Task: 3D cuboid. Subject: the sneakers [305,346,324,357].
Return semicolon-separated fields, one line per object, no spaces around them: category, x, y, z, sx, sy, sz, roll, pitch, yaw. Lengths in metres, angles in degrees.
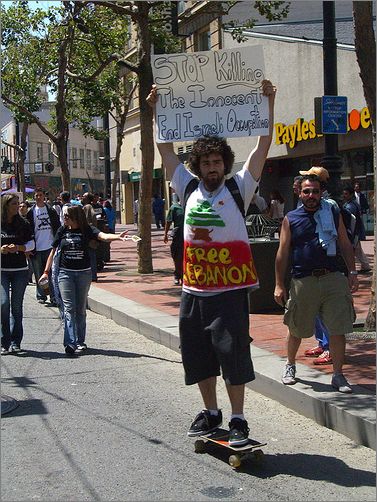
sneakers;1.175;0.936;5.341;0.185;0.071;0.072;-1;5;11

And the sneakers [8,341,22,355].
sneakers;-1.930;1.087;6.350;0.073;0.074;0.177;5;-4;-32

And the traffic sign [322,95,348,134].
traffic sign;1.681;-1.578;6.615;0.448;0.595;0.069;-1;1;-29

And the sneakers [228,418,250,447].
sneakers;0.271;0.980;3.107;0.107;0.120;0.152;-1;2;4

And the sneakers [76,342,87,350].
sneakers;-1.226;1.070;6.463;0.105;0.052;0.168;2;1;-3

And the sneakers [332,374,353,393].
sneakers;1.101;0.941;4.109;0.119;0.110;0.203;-1;2;4

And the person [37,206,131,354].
person;-1.324;0.306;6.432;0.498;1.623;0.430;0;2;23

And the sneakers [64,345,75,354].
sneakers;-1.298;1.072;6.226;0.115;0.118;0.122;-2;2;-11

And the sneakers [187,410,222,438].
sneakers;0.099;1.004;3.345;0.088;0.105;0.259;-2;-2;36

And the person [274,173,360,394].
person;0.954;0.209;4.302;0.605;1.588;0.547;-1;2;15

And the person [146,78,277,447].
person;0.190;0.221;3.386;0.486;1.812;0.668;-3;3;-42

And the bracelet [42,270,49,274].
bracelet;-1.590;0.234;6.311;0.045;0.033;0.045;3;5;30

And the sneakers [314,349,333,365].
sneakers;1.187;0.936;5.037;0.072;0.080;0.195;-5;-6;44

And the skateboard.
skateboard;0.216;1.104;3.243;0.213;0.166;0.532;-2;3;-30
